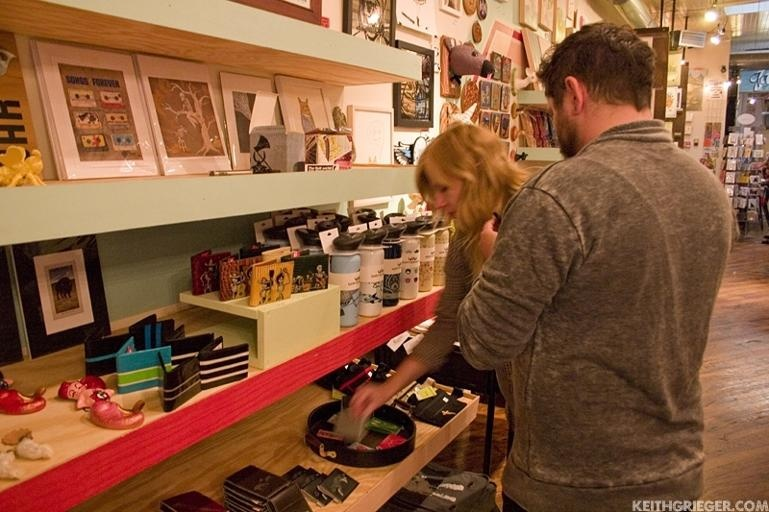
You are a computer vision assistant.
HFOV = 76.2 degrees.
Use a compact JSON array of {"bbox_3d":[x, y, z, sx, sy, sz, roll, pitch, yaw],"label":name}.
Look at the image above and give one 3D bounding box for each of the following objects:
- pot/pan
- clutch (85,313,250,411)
[{"bbox_3d":[-0.095,0.765,2.059,0.282,0.056,0.283,6,7,38],"label":"pot/pan"},{"bbox_3d":[-0.621,0.242,1.413,0.313,0.103,0.298,12,13,27],"label":"clutch"}]
